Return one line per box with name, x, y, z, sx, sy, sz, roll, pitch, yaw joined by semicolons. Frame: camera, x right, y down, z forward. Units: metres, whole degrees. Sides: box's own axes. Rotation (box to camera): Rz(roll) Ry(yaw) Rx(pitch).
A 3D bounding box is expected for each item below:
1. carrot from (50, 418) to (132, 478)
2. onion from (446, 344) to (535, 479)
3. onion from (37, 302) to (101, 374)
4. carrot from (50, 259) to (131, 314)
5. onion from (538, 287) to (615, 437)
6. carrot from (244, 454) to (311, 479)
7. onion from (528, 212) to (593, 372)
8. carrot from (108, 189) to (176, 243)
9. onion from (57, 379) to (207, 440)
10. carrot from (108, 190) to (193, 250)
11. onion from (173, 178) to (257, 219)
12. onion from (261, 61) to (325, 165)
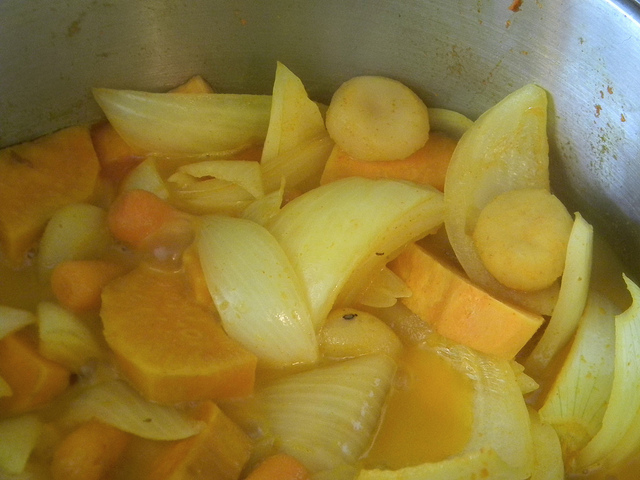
carrot;-0.686;0.635;2.355;0.230;0.103;0.122;-35;90;-5
onion;0.567;0.543;2.405;0.294;0.089;0.362;-38;69;5
onion;-0.803;0.314;2.430;0.205;0.058;0.214;4;69;-40
carrot;-0.777;0.117;2.554;0.237;0.123;0.169;-24;59;-37
onion;0.842;0.402;2.398;0.232;0.118;0.393;30;91;12
carrot;-0.120;0.702;2.344;0.106;0.104;0.035;-7;108;-37
onion;0.789;0.178;2.484;0.120;0.139;0.570;12;105;5
carrot;-0.602;-0.073;2.557;0.188;0.086;0.164;32;66;9
onion;-0.577;0.536;2.368;0.350;0.088;0.197;12;25;-31
carrot;-0.576;-0.056;2.558;0.247;0.097;0.157;27;66;6
onion;-0.363;-0.142;2.647;0.244;0.078;0.141;8;86;7
onion;-0.078;-0.414;2.643;0.195;0.235;0.267;11;65;-1
